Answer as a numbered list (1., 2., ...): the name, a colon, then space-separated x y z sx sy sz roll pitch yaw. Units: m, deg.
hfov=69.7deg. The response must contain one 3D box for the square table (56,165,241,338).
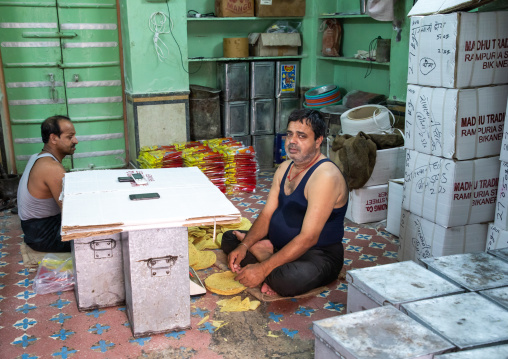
1. square table: -0.810 0.692 2.989 1.076 0.581 1.033 4 3 32

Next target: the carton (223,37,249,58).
1. carton: -0.325 -2.171 6.130 0.392 0.254 0.378 9 19 25

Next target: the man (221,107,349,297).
1. man: 0.284 0.180 3.390 1.153 1.477 1.385 -4 9 -23

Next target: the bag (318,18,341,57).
1. bag: 1.320 -2.478 6.331 0.354 0.567 0.547 -10 24 -14

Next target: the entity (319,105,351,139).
1. entity: 1.196 -0.914 5.628 0.516 0.347 0.484 -4 29 1

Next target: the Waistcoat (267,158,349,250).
1. Waistcoat: 0.478 0.222 3.453 0.685 0.854 0.626 -13 13 -26

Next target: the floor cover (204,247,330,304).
1. floor cover: 0.231 0.856 3.154 0.488 0.056 0.514 -5 15 -27

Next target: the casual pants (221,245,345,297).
1. casual pants: 0.351 0.867 3.695 1.010 0.381 1.409 1 -1 -21

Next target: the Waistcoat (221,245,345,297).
1. Waistcoat: 0.425 0.785 3.178 0.481 0.189 0.656 -1 3 -22
